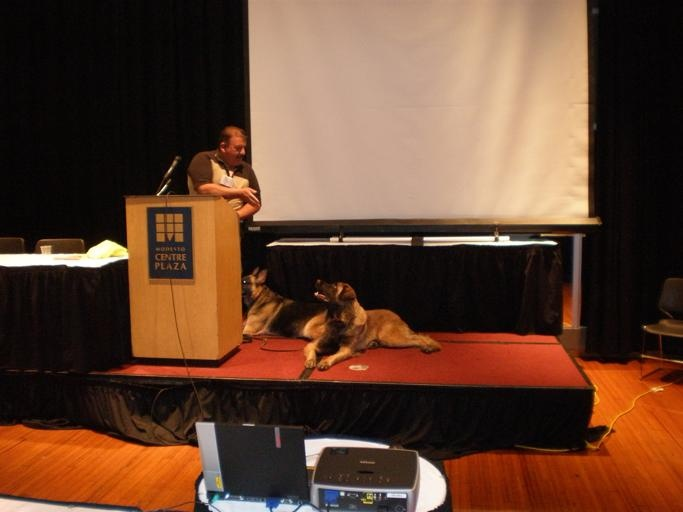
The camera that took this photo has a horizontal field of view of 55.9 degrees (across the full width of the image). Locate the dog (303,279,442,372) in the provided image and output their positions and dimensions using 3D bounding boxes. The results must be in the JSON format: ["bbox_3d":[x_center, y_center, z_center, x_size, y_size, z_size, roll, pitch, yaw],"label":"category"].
[{"bbox_3d":[0.232,0.571,5.290,1.022,0.591,0.599,2,-14,-22],"label":"dog"}]

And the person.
[{"bbox_3d":[-0.980,-0.703,5.500,0.629,0.790,0.742,-4,9,-19],"label":"person"}]
